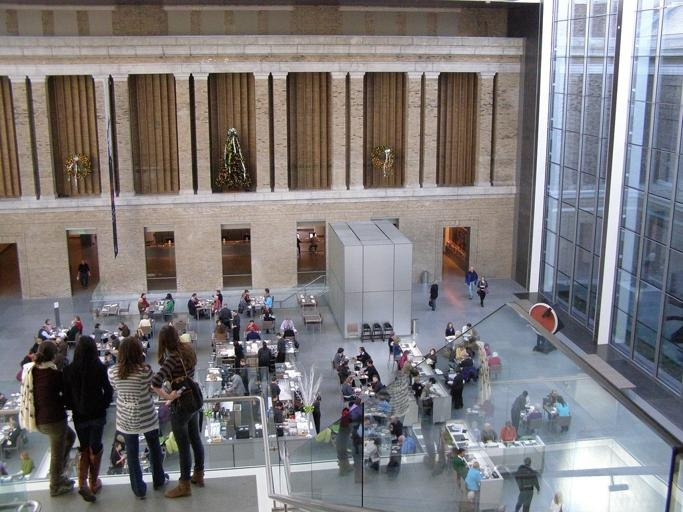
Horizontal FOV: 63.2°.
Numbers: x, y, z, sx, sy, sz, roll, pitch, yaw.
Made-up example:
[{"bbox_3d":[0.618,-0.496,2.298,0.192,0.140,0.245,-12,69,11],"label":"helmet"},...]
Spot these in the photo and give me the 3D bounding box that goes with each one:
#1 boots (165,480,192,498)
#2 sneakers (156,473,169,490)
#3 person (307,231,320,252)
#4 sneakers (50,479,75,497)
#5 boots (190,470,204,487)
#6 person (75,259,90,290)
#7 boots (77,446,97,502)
[{"bbox_3d":[-1.719,2.477,5.979,0.307,0.223,0.125,6,12,-8],"label":"boots"},{"bbox_3d":[-1.993,2.493,6.195,0.066,0.077,0.178,4,20,4],"label":"sneakers"},{"bbox_3d":[-1.820,-0.933,34.869,0.920,1.796,0.851,2,30,-1],"label":"person"},{"bbox_3d":[-2.950,2.437,5.937,0.262,0.119,0.107,-14,28,-31],"label":"sneakers"},{"bbox_3d":[-1.605,2.427,6.181,0.089,0.158,0.197,-4,28,-18],"label":"boots"},{"bbox_3d":[-13.485,0.945,29.014,0.524,1.069,1.287,-11,-5,-26],"label":"person"},{"bbox_3d":[-2.707,2.300,5.867,0.176,0.385,0.216,-11,-5,-29],"label":"boots"}]
